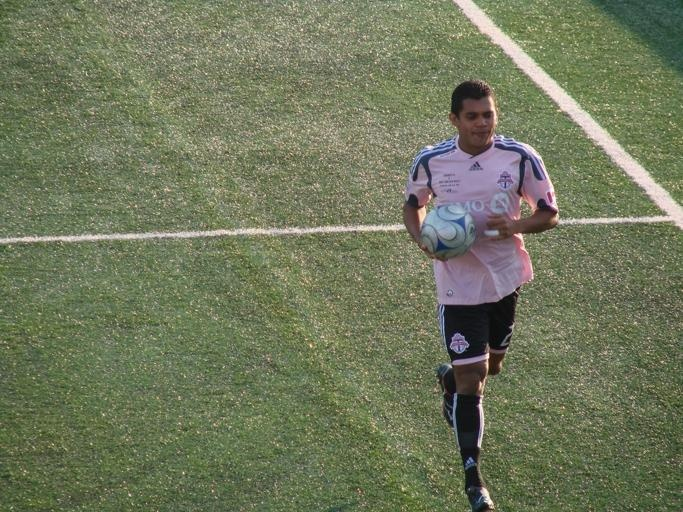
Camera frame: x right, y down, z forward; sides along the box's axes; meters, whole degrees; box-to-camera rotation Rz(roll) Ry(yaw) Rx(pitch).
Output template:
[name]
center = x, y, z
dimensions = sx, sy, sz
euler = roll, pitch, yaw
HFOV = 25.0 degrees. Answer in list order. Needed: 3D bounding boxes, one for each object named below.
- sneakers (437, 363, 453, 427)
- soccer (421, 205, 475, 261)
[sneakers]
center = 0.885, 1.120, 12.799
dimensions = 0.168, 0.449, 0.200
euler = -5, 16, 3
[soccer]
center = 0.879, -0.200, 12.425
dimensions = 0.279, 0.260, 0.309
euler = 27, 42, 7
